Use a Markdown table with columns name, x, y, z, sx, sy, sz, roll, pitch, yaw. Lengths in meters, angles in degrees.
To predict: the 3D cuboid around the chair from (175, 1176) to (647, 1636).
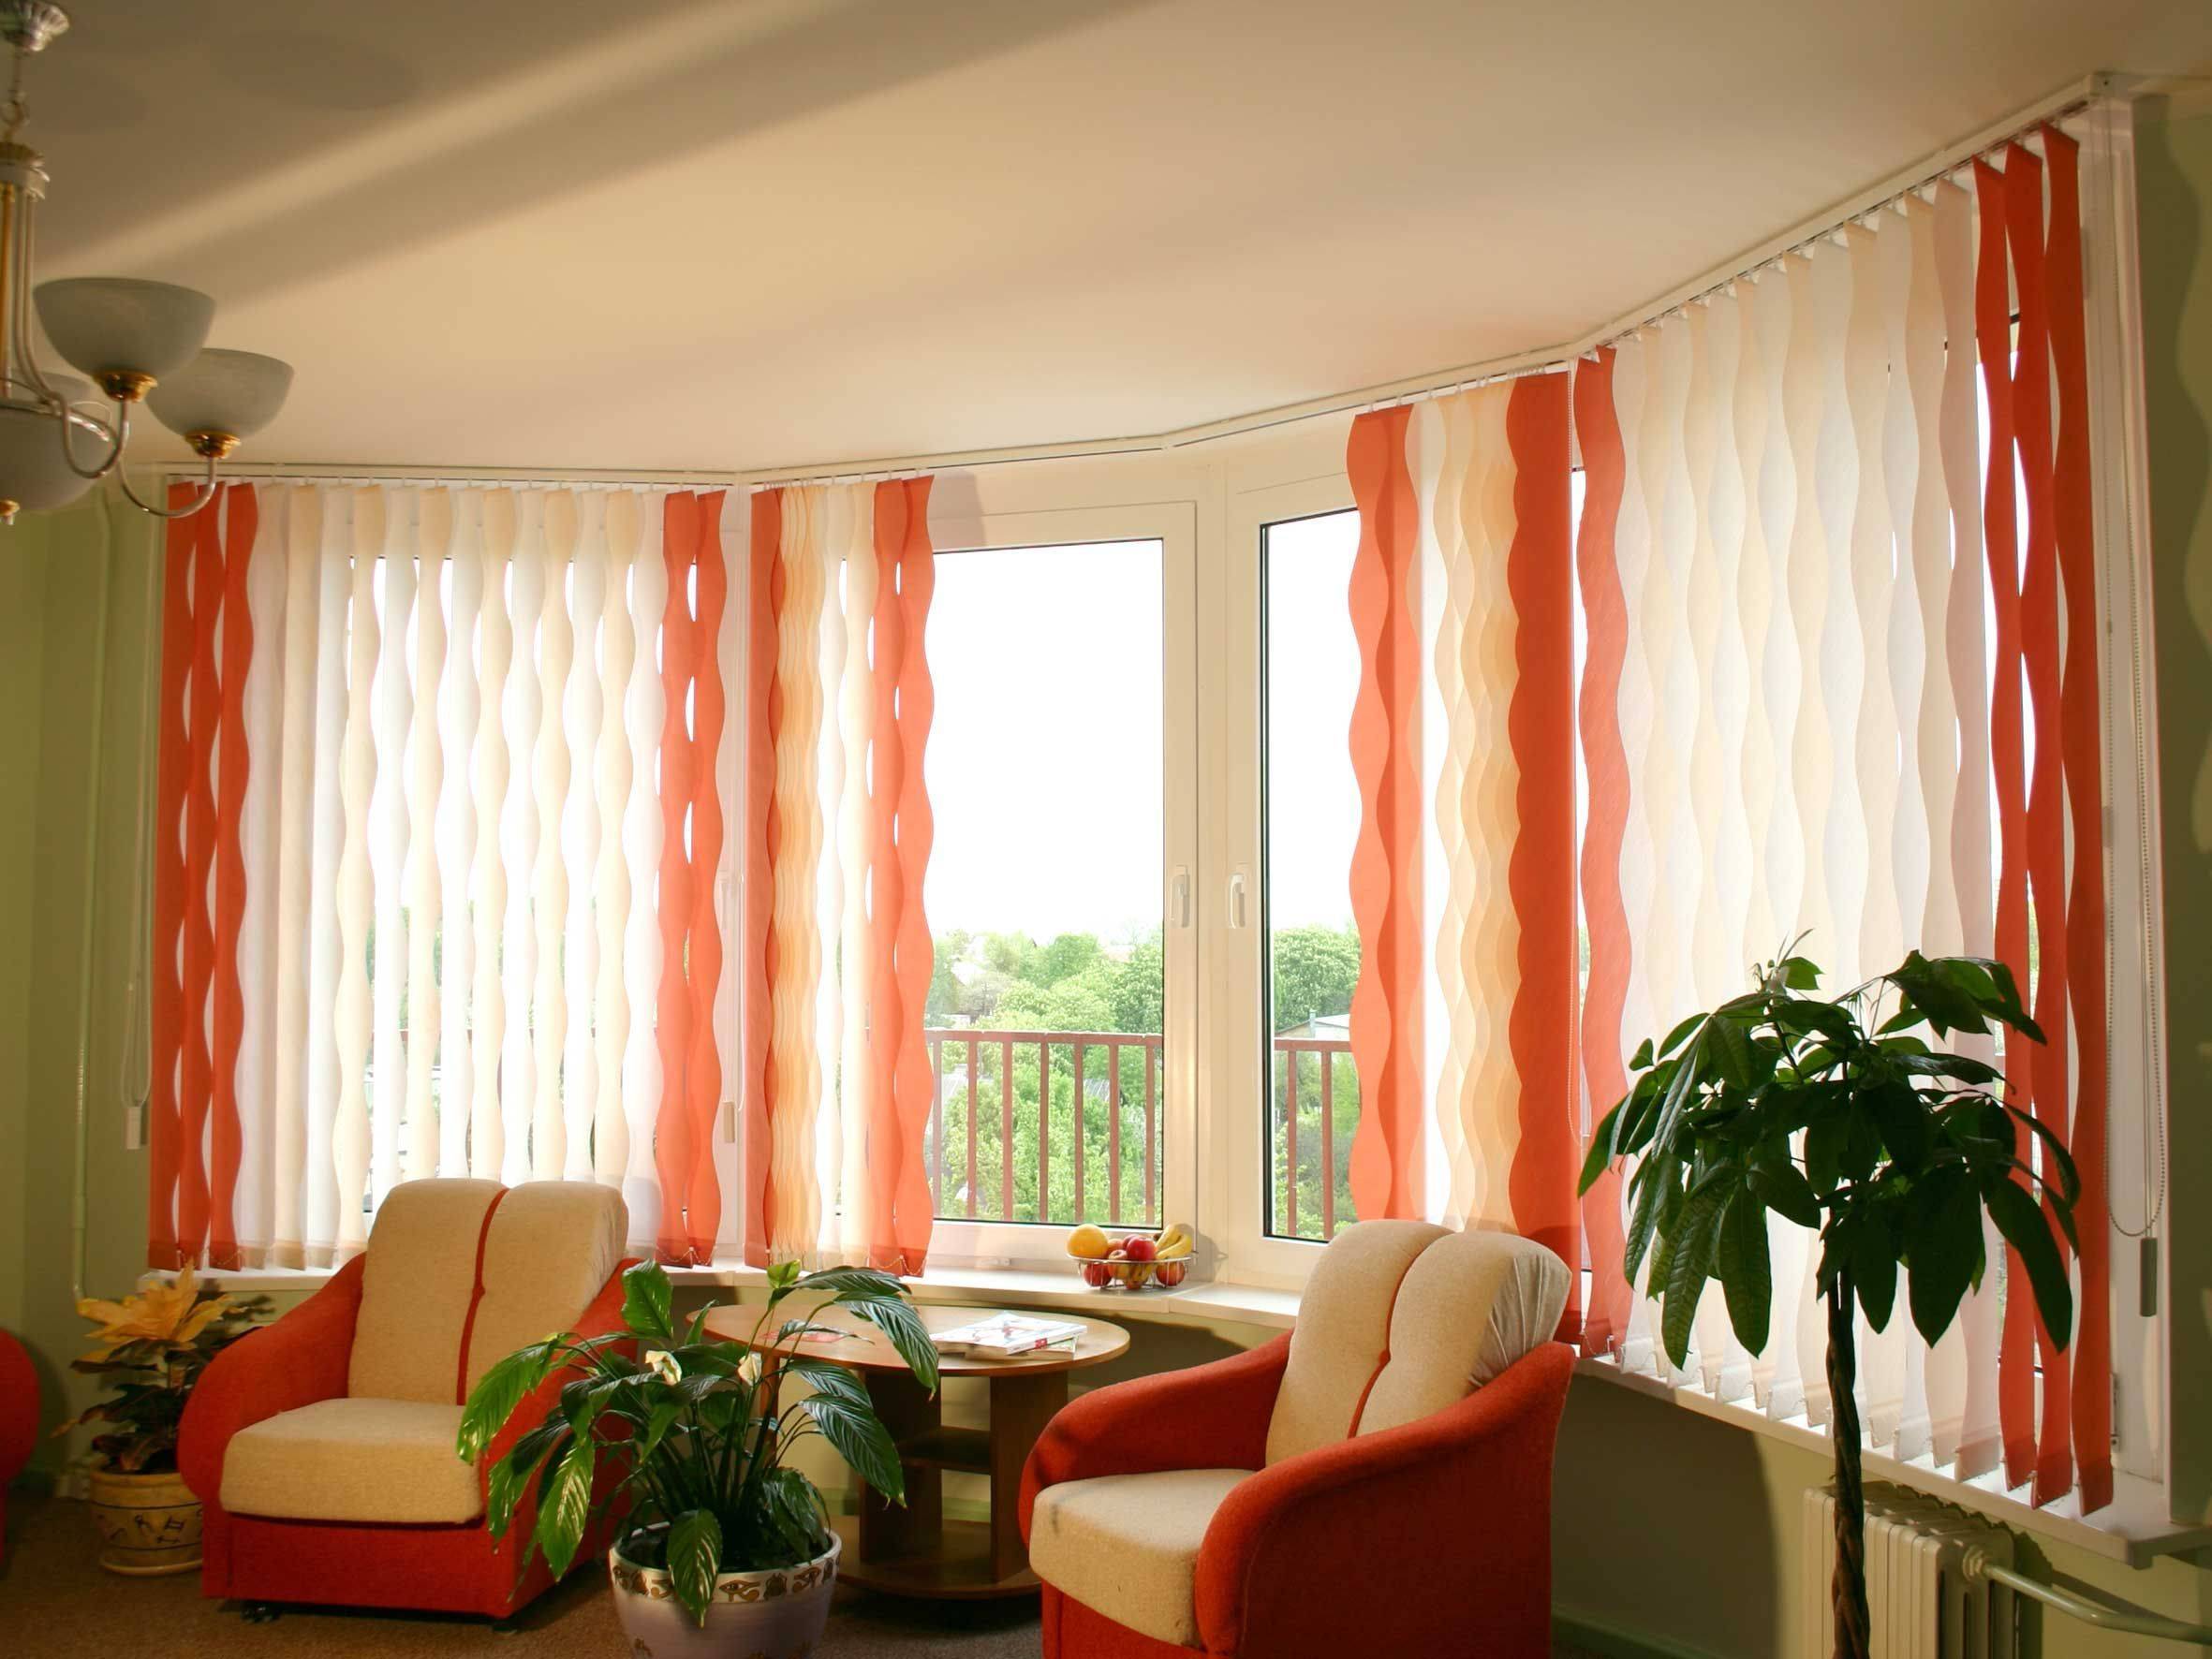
| name | x | y | z | sx | sy | sz | roll | pitch | yaw |
| --- | --- | --- | --- | --- | --- | --- | --- | --- | --- |
| chair | -1.744 | 1.491 | 5.050 | 0.999 | 1.037 | 1.031 | -2 | -9 | 10 |

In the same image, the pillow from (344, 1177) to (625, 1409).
| name | x | y | z | sx | sy | sz | roll | pitch | yaw |
| --- | --- | --- | --- | --- | --- | --- | --- | --- | --- |
| pillow | -1.735 | 1.290 | 5.079 | 0.604 | 0.621 | 0.244 | -1 | -16 | 21 |

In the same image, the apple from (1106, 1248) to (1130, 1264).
| name | x | y | z | sx | sy | sz | roll | pitch | yaw |
| --- | --- | --- | --- | --- | --- | --- | --- | --- | --- |
| apple | 0.040 | 1.178 | 5.092 | 0.034 | 0.024 | 0.042 | 1 | 1 | 21 |

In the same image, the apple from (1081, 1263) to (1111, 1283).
| name | x | y | z | sx | sy | sz | roll | pitch | yaw |
| --- | --- | --- | --- | --- | --- | --- | --- | --- | --- |
| apple | -0.019 | 1.230 | 5.133 | 0.061 | 0.060 | 0.061 | 2 | -6 | -11 |

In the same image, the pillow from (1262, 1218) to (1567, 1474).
| name | x | y | z | sx | sy | sz | roll | pitch | yaw |
| --- | --- | --- | --- | --- | --- | --- | --- | --- | --- |
| pillow | 0.707 | 1.134 | 4.203 | 0.224 | 0.608 | 0.619 | 24 | -25 | -29 |

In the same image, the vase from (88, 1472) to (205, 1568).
| name | x | y | z | sx | sy | sz | roll | pitch | yaw |
| --- | --- | --- | --- | --- | --- | --- | --- | --- | --- |
| vase | -2.593 | 1.830 | 5.021 | 0.268 | 0.236 | 0.278 | -1 | -8 | 0 |
